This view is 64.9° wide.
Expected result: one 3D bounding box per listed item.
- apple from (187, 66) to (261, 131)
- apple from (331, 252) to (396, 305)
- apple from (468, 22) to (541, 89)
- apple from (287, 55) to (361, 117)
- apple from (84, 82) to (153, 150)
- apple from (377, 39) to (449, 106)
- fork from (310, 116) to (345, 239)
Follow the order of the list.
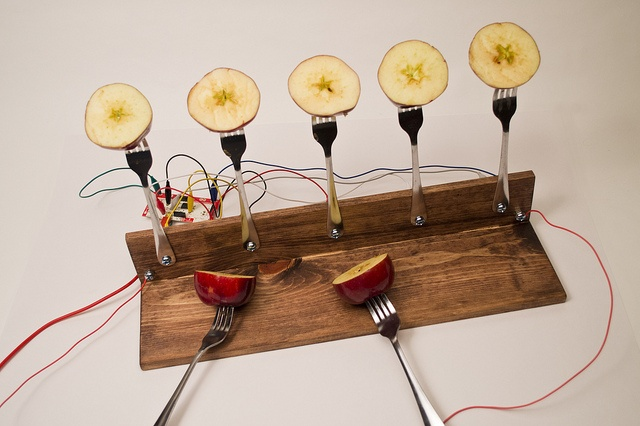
[{"bbox_3d":[-0.293,-0.351,1.542,0.199,0.120,0.190,32,-71,-20],"label":"apple"},{"bbox_3d":[0.136,0.204,1.586,0.161,0.166,0.101,-28,-95,22],"label":"apple"},{"bbox_3d":[0.584,-0.499,1.634,0.225,0.081,0.264,-12,-87,2],"label":"apple"},{"bbox_3d":[0.007,-0.406,1.582,0.216,0.185,0.168,-3,-63,-4],"label":"apple"},{"bbox_3d":[-0.624,-0.299,1.555,0.194,0.110,0.188,21,-68,-15],"label":"apple"},{"bbox_3d":[0.288,-0.434,1.563,0.208,0.105,0.190,-35,-65,11],"label":"apple"},{"bbox_3d":[0.026,-0.122,1.613,0.062,0.028,0.473,-7,-62,-4],"label":"fork"}]
